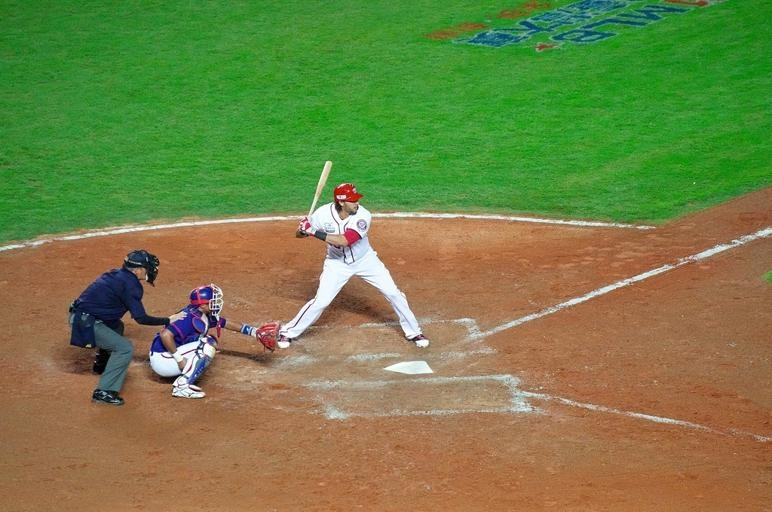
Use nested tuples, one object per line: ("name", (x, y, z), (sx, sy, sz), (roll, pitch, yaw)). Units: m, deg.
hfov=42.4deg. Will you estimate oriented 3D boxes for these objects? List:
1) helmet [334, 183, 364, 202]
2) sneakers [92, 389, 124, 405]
("helmet", (-0.709, -1.099, 17.893), (0.448, 0.454, 0.411), (9, 39, -3))
("sneakers", (-4.532, 2.396, 16.791), (0.771, 0.163, 0.209), (2, 23, 2))
